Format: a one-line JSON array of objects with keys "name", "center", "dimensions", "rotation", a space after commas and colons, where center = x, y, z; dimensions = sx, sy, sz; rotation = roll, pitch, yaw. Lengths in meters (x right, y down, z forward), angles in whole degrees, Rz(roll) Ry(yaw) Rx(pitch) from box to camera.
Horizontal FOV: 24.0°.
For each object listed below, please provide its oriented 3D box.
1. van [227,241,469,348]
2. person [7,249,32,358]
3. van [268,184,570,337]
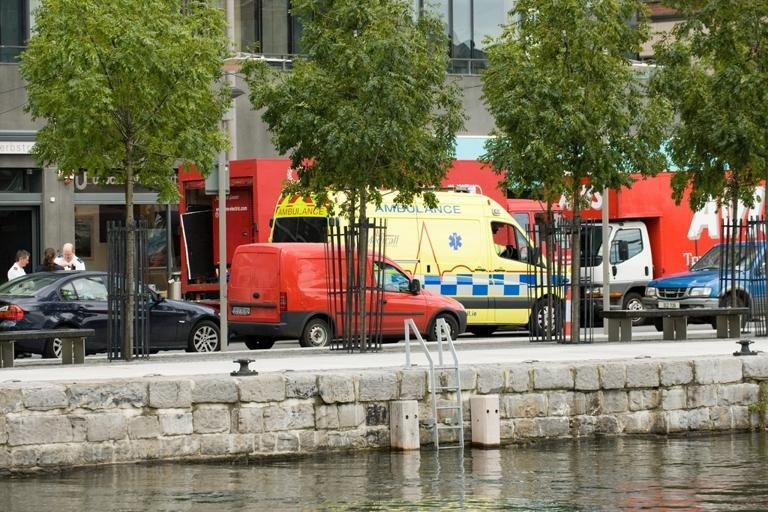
[{"name": "van", "center": [-0.680, 0.726, 38.146], "dimensions": [4.308, 1.686, 2.176], "rotation": [-1, 0, -32]}, {"name": "person", "center": [-7.482, 0.802, 37.601], "dimensions": [0.543, 1.762, 0.538], "rotation": [1, -3, -17]}, {"name": "van", "center": [0.892, 0.157, 41.396], "dimensions": [7.212, 3.088, 2.595], "rotation": [0, 0, -33]}]
